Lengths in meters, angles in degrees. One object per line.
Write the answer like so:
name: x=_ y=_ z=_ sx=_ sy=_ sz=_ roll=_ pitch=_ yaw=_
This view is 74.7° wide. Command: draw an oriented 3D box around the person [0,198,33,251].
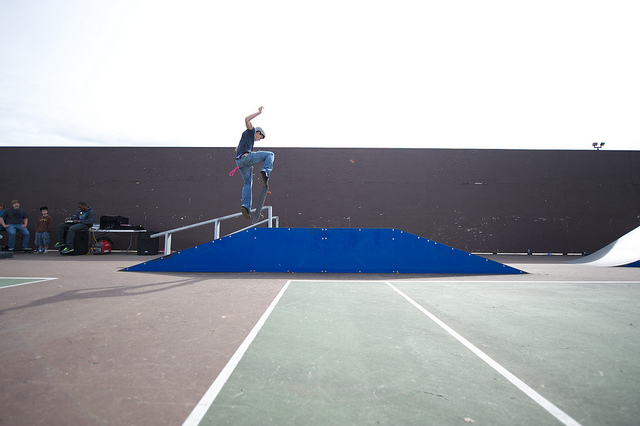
person: x=-10.067 y=0.387 z=13.883 sx=0.729 sy=1.608 sz=0.528 roll=2 pitch=-3 yaw=-42

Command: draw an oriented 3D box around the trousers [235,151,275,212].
trousers: x=-1.583 y=-0.836 z=9.384 sx=0.941 sy=1.144 sz=0.806 roll=-34 pitch=-44 yaw=31

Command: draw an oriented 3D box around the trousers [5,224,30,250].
trousers: x=-9.988 y=0.785 z=13.866 sx=0.664 sy=1.102 sz=0.715 roll=2 pitch=1 yaw=23

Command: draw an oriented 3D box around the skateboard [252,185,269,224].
skateboard: x=-1.365 y=-0.196 z=9.645 sx=0.201 sy=0.260 sz=1.184 roll=-31 pitch=-25 yaw=-30

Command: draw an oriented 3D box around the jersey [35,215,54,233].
jersey: x=-9.610 y=0.401 z=14.644 sx=0.291 sy=0.553 sz=0.505 roll=-4 pitch=-20 yaw=43

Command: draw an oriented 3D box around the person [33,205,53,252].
person: x=-9.669 y=0.556 z=14.634 sx=0.454 sy=1.533 sz=1.011 roll=1 pitch=-3 yaw=-36

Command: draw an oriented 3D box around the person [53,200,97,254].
person: x=-7.877 y=0.482 z=13.491 sx=1.200 sy=1.648 sz=0.601 roll=-1 pitch=-3 yaw=15

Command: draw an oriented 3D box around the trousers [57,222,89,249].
trousers: x=-8.023 y=0.761 z=13.641 sx=0.742 sy=0.966 sz=0.797 roll=2 pitch=-7 yaw=35
